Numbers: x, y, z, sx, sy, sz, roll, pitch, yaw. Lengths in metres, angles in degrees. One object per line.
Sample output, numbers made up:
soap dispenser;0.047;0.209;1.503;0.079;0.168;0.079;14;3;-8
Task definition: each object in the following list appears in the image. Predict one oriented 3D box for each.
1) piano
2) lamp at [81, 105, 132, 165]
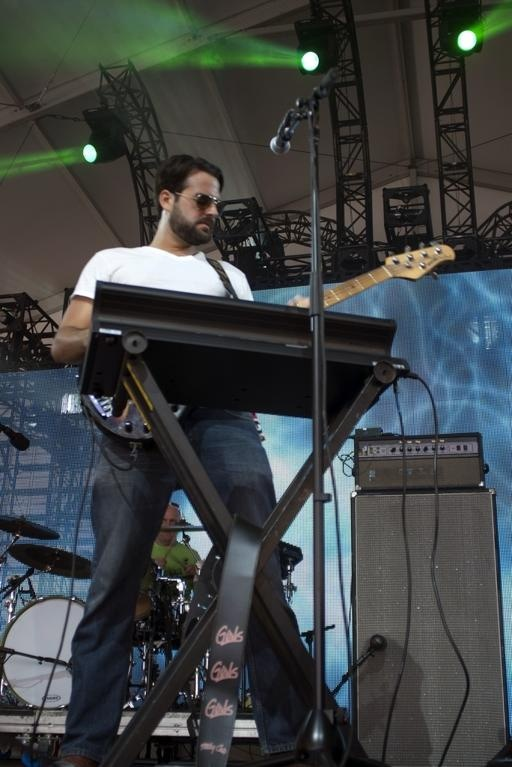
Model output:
piano;-0.048;-0.048;1.855;0.625;0.212;0.324;5;-7;-13
lamp;-1.193;-1.926;6.838;0.379;0.442;0.448;5;11;42
